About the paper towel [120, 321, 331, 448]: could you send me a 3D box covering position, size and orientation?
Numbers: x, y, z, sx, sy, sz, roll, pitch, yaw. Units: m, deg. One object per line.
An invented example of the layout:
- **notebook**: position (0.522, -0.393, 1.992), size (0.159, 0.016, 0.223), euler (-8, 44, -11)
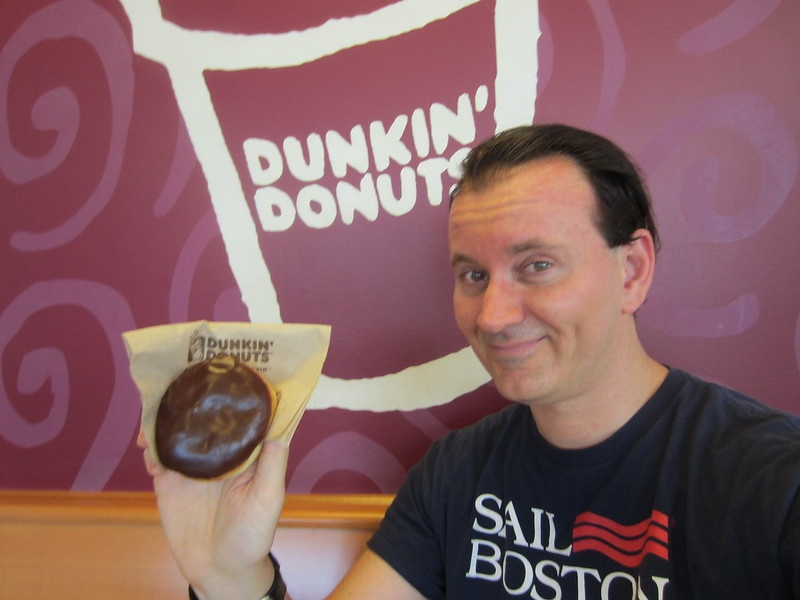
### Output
- **paper towel**: position (-0.418, 0.262, 2.090), size (0.426, 0.363, 0.116), euler (-1, -13, -1)
